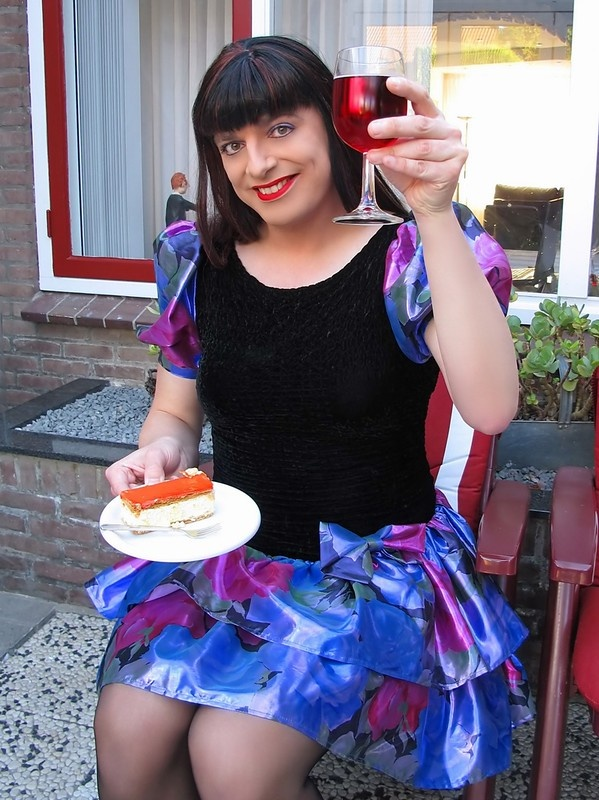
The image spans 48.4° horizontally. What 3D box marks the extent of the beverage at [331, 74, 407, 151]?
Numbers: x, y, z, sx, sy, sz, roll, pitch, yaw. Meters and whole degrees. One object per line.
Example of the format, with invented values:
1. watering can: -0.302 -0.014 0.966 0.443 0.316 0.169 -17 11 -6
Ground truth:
1. beverage: 0.071 -0.300 0.682 0.079 0.087 0.112 1 10 7

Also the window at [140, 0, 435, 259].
1. window: -0.033 -0.423 1.197 0.563 0.454 0.378 -5 11 12

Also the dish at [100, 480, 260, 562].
1. dish: -0.189 0.168 0.971 0.218 0.023 0.215 -6 4 24
